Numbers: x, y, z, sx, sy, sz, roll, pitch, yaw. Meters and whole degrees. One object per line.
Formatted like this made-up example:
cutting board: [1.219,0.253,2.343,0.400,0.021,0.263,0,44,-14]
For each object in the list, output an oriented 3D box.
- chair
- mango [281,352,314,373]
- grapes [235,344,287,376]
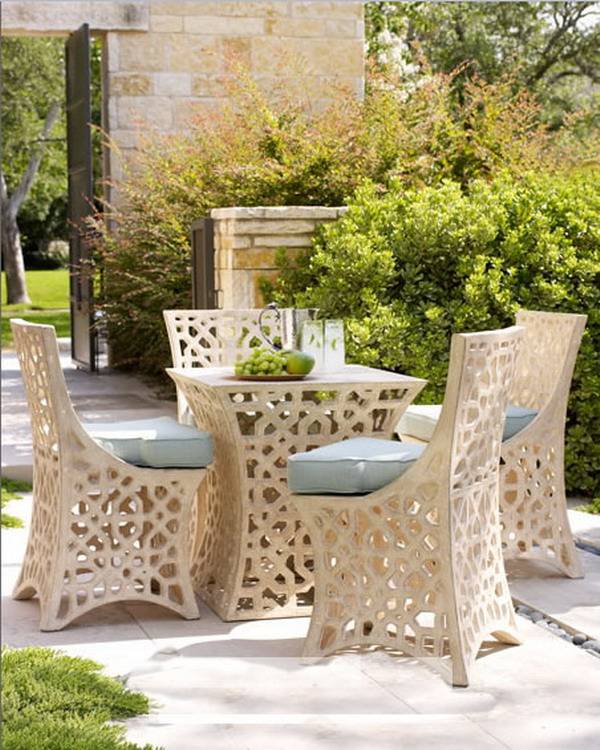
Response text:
chair: [0.524,0.290,3.669,1.587,0.944,1.139,-3,7,-33]
mango: [-0.006,-0.040,3.571,0.084,0.062,0.060,-2,14,-31]
grapes: [-0.134,-0.048,3.618,0.092,0.075,0.135,-6,6,-34]
